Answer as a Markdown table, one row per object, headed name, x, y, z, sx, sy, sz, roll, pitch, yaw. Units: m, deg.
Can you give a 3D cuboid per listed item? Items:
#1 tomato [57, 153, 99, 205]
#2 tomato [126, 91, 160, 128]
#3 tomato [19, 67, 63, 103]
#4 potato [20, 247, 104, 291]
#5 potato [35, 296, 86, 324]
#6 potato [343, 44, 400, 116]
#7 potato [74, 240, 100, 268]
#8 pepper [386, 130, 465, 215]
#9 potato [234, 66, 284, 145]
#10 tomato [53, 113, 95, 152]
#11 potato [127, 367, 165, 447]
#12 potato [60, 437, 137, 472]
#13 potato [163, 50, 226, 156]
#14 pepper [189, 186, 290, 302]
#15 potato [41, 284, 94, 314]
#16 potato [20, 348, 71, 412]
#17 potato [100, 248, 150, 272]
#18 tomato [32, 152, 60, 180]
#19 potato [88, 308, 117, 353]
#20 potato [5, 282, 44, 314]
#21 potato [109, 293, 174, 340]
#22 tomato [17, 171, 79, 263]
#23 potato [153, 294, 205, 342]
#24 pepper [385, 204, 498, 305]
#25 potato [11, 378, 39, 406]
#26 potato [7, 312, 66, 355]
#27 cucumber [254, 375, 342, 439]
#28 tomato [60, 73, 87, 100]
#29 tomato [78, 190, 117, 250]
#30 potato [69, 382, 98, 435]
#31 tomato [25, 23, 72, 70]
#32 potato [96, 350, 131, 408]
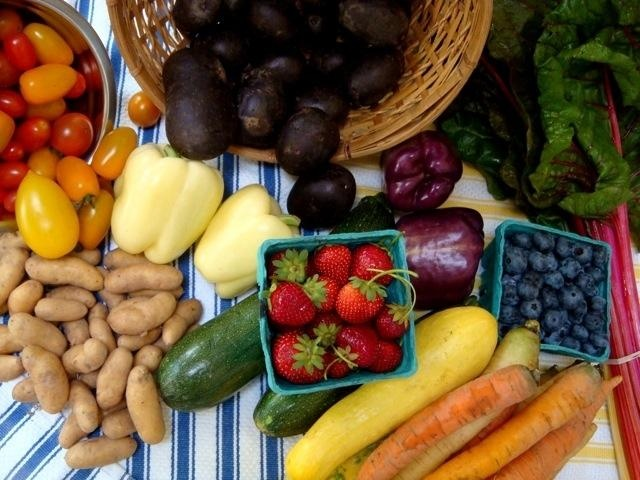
| name | x | y | z | sx | sy | sz | roll | pitch | yaw |
| --- | --- | --- | --- | --- | --- | --- | --- | --- | --- |
| tomato | -0.646 | -0.172 | 1.739 | 0.112 | 0.092 | 0.108 | 5 | 81 | 7 |
| tomato | -0.505 | -0.374 | 1.850 | 0.070 | 0.104 | 0.079 | 10 | 25 | 23 |
| tomato | -0.700 | -0.389 | 1.651 | 0.090 | 0.077 | 0.080 | -18 | 52 | -3 |
| potato | -0.672 | 0.085 | 1.708 | 0.174 | 0.080 | 0.095 | 13 | 38 | -1 |
| potato | -0.668 | 0.181 | 1.690 | 0.109 | 0.062 | 0.059 | 8 | 20 | -19 |
| potato | 0.132 | -0.433 | 1.753 | 0.098 | 0.156 | 0.096 | 39 | 13 | -45 |
| potato | -0.628 | 0.041 | 1.777 | 0.059 | 0.036 | 0.049 | 30 | 35 | -1 |
| pepper | 0.302 | -0.173 | 1.888 | 0.202 | 0.191 | 0.226 | -14 | 82 | -59 |
| potato | -0.150 | -0.339 | 1.679 | 0.113 | 0.189 | 0.087 | 6 | 3 | 42 |
| tomato | -0.642 | -0.273 | 1.707 | 0.086 | 0.114 | 0.099 | -1 | 5 | -24 |
| potato | -0.446 | 0.416 | 1.668 | 0.067 | 0.211 | 0.086 | -12 | -1 | 11 |
| potato | -0.570 | 0.557 | 1.720 | 0.185 | 0.081 | 0.094 | 2 | 32 | -28 |
| potato | -0.303 | -0.340 | 1.622 | 0.132 | 0.286 | 0.130 | -10 | 4 | -14 |
| pepper | -0.212 | -0.007 | 1.840 | 0.277 | 0.173 | 0.256 | -4 | 28 | 7 |
| potato | -0.661 | 0.144 | 1.726 | 0.111 | 0.048 | 0.067 | 15 | 63 | 5 |
| potato | -0.700 | 0.352 | 1.681 | 0.094 | 0.073 | 0.184 | -25 | 78 | -42 |
| potato | -0.528 | 0.049 | 1.762 | 0.104 | 0.066 | 0.055 | 2 | 4 | -3 |
| tomato | -0.748 | -0.210 | 1.764 | 0.078 | 0.075 | 0.063 | 10 | -7 | -22 |
| potato | -0.572 | 0.228 | 1.717 | 0.059 | 0.044 | 0.131 | 13 | 60 | -36 |
| potato | -0.758 | 0.148 | 1.690 | 0.054 | 0.101 | 0.054 | 32 | 1 | 20 |
| potato | -0.458 | 0.182 | 1.705 | 0.143 | 0.085 | 0.094 | -26 | 42 | -15 |
| tomato | -0.704 | -0.068 | 1.750 | 0.146 | 0.258 | 0.181 | 2 | 50 | -19 |
| potato | -0.374 | 0.209 | 1.738 | 0.059 | 0.060 | 0.133 | 25 | 52 | 25 |
| pepper | 0.324 | 0.039 | 1.738 | 0.240 | 0.244 | 0.201 | 0 | 3 | 16 |
| potato | -0.759 | 0.393 | 1.688 | 0.047 | 0.078 | 0.039 | -4 | 4 | -20 |
| potato | -0.725 | 0.236 | 1.712 | 0.159 | 0.075 | 0.081 | 39 | 70 | -26 |
| cucumber | -0.063 | 0.441 | 1.738 | 0.197 | 0.116 | 0.114 | -22 | 58 | -5 |
| tomato | -0.645 | -0.407 | 1.728 | 0.064 | 0.060 | 0.051 | -14 | 25 | -22 |
| tomato | -0.598 | -0.056 | 1.751 | 0.082 | 0.159 | 0.079 | 19 | 2 | -21 |
| potato | -0.601 | 0.428 | 1.677 | 0.059 | 0.052 | 0.136 | -13 | 66 | -22 |
| tomato | -0.691 | -0.496 | 1.695 | 0.111 | 0.064 | 0.073 | 41 | 41 | -20 |
| potato | -0.525 | 0.353 | 1.673 | 0.069 | 0.161 | 0.065 | 18 | -8 | -17 |
